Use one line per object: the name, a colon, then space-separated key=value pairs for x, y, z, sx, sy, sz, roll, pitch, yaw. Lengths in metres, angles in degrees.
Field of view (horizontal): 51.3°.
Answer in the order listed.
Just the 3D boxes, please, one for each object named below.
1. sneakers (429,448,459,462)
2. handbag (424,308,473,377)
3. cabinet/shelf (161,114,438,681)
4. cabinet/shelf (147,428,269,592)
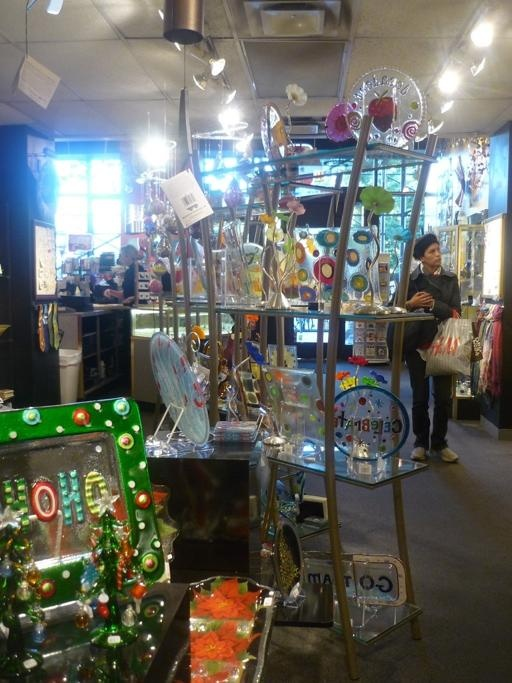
sneakers: x=1.426 y=0.857 z=4.039 sx=0.078 sy=0.078 sz=0.183 roll=-1 pitch=-1 yaw=-26
handbag: x=1.331 y=0.011 z=3.713 sx=0.420 sy=0.486 sz=0.200 roll=3 pitch=-3 yaw=40
cabinet/shelf: x=0.277 y=0.135 z=1.949 sx=1.076 sy=1.824 sz=0.917 roll=1 pitch=5 yaw=-19
cabinet/shelf: x=-0.179 y=0.412 z=1.709 sx=0.296 sy=0.406 sz=0.412 roll=1 pitch=24 yaw=-6
